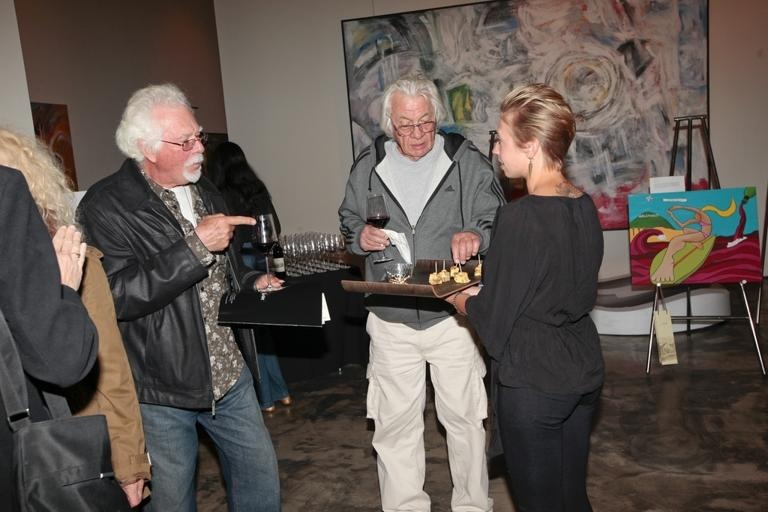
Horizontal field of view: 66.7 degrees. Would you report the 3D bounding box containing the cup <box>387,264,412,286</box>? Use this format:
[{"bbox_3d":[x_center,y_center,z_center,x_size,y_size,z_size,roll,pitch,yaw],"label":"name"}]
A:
[{"bbox_3d":[0.086,0.101,3.064,0.092,0.074,0.103,0,5,-13],"label":"cup"}]

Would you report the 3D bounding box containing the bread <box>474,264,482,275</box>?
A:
[{"bbox_3d":[0.487,0.069,3.028,0.045,0.055,0.018,7,5,-42],"label":"bread"}]
